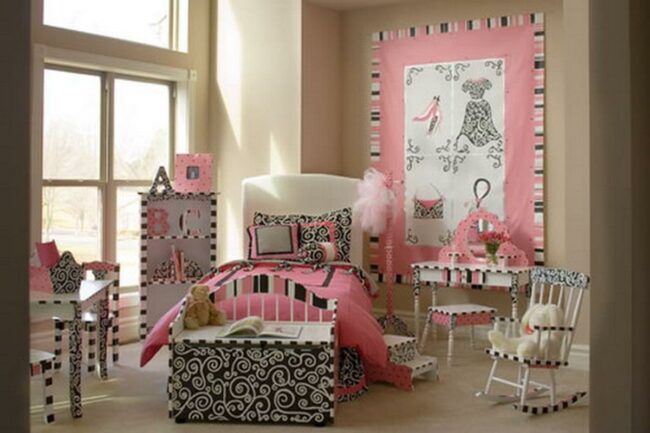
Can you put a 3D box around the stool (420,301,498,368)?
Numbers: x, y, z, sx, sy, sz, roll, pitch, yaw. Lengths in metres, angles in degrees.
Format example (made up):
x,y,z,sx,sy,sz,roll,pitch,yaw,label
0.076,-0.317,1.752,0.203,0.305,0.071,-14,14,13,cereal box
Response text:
x,y,z,sx,sy,sz,roll,pitch,yaw,label
1.118,0.867,4.443,0.603,0.477,0.449,-1,1,-32,stool

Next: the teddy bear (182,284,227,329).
x,y,z,sx,sy,sz,roll,pitch,yaw,label
-0.751,0.544,3.230,0.268,0.272,0.153,-4,5,-40,teddy bear

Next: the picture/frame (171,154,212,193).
x,y,z,sx,sy,sz,roll,pitch,yaw,label
-1.252,-0.403,4.960,0.350,0.380,0.041,-1,-10,-1,picture/frame

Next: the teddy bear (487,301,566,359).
x,y,z,sx,sy,sz,roll,pitch,yaw,label
1.262,0.698,3.229,0.465,0.346,0.317,5,-8,-34,teddy bear
